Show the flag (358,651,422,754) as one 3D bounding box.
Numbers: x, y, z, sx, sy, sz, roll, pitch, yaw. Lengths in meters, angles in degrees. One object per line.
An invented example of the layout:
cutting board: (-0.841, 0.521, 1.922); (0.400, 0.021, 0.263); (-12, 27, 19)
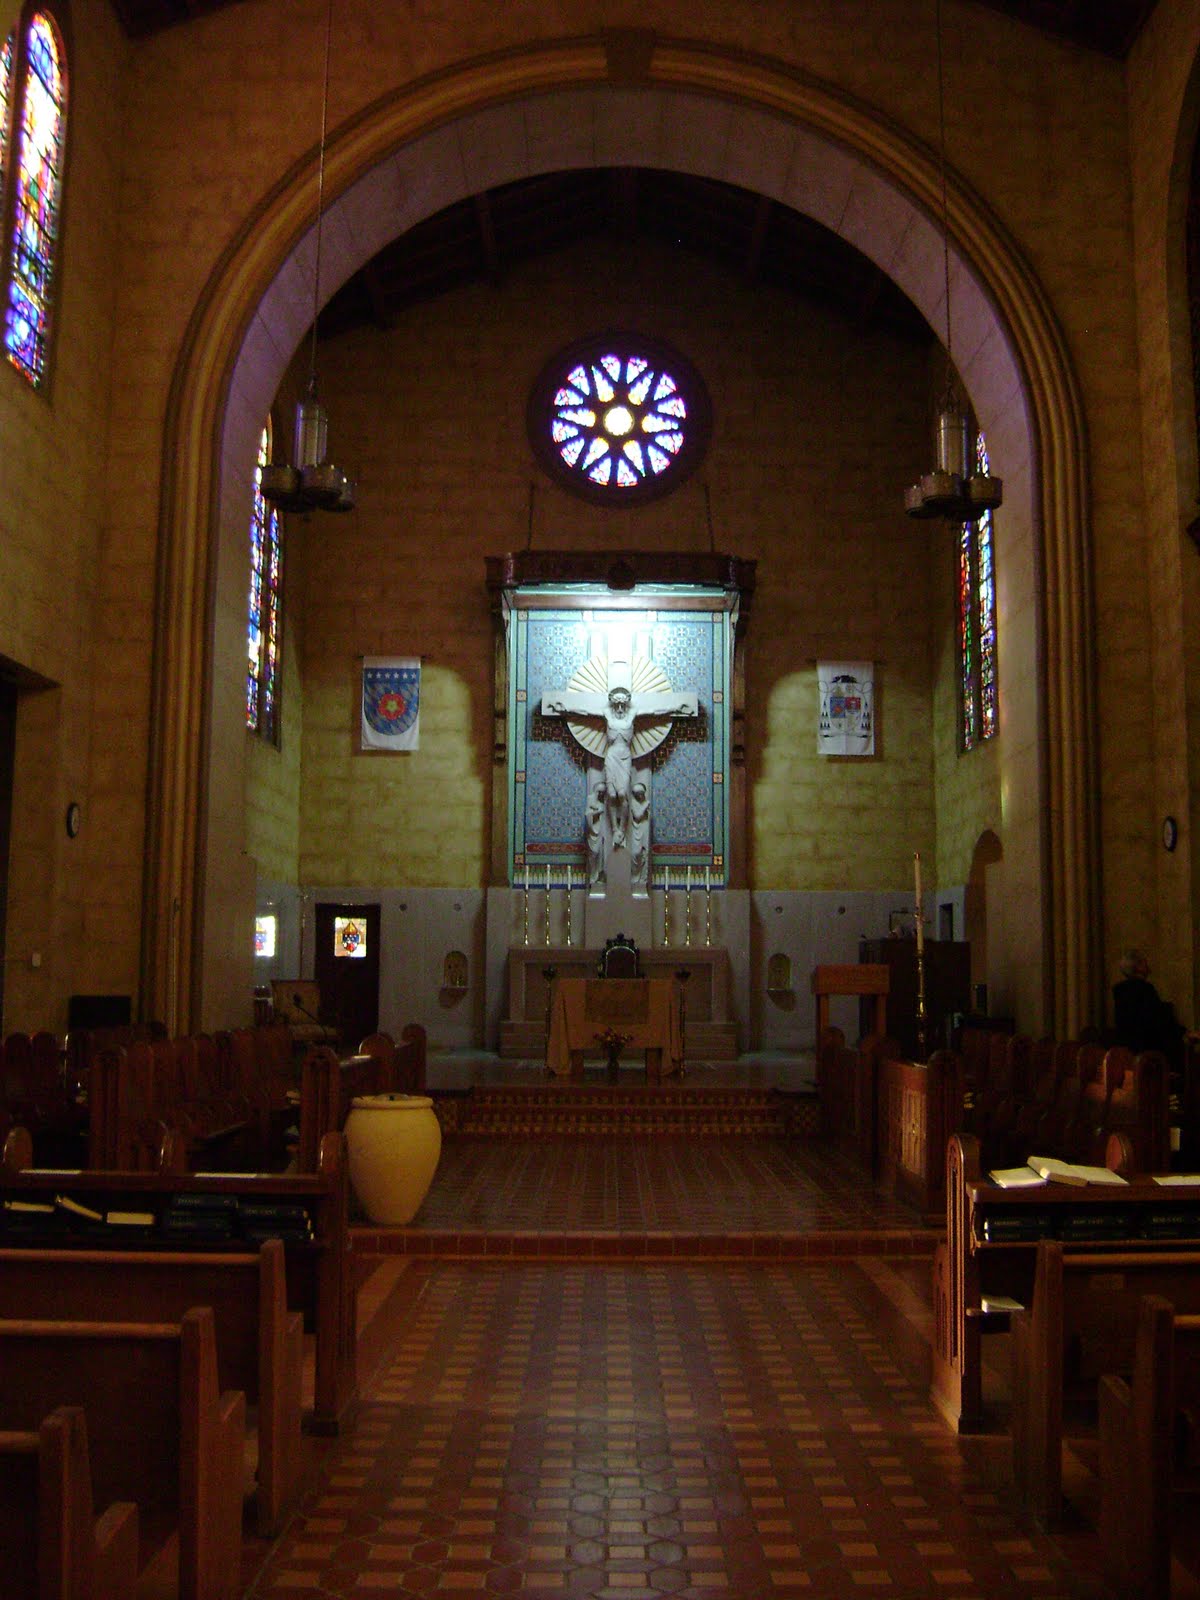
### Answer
flag: (-2.221, -1.010, 15.459); (0.710, 1.586, 0.168); (-1, -4, 5)
